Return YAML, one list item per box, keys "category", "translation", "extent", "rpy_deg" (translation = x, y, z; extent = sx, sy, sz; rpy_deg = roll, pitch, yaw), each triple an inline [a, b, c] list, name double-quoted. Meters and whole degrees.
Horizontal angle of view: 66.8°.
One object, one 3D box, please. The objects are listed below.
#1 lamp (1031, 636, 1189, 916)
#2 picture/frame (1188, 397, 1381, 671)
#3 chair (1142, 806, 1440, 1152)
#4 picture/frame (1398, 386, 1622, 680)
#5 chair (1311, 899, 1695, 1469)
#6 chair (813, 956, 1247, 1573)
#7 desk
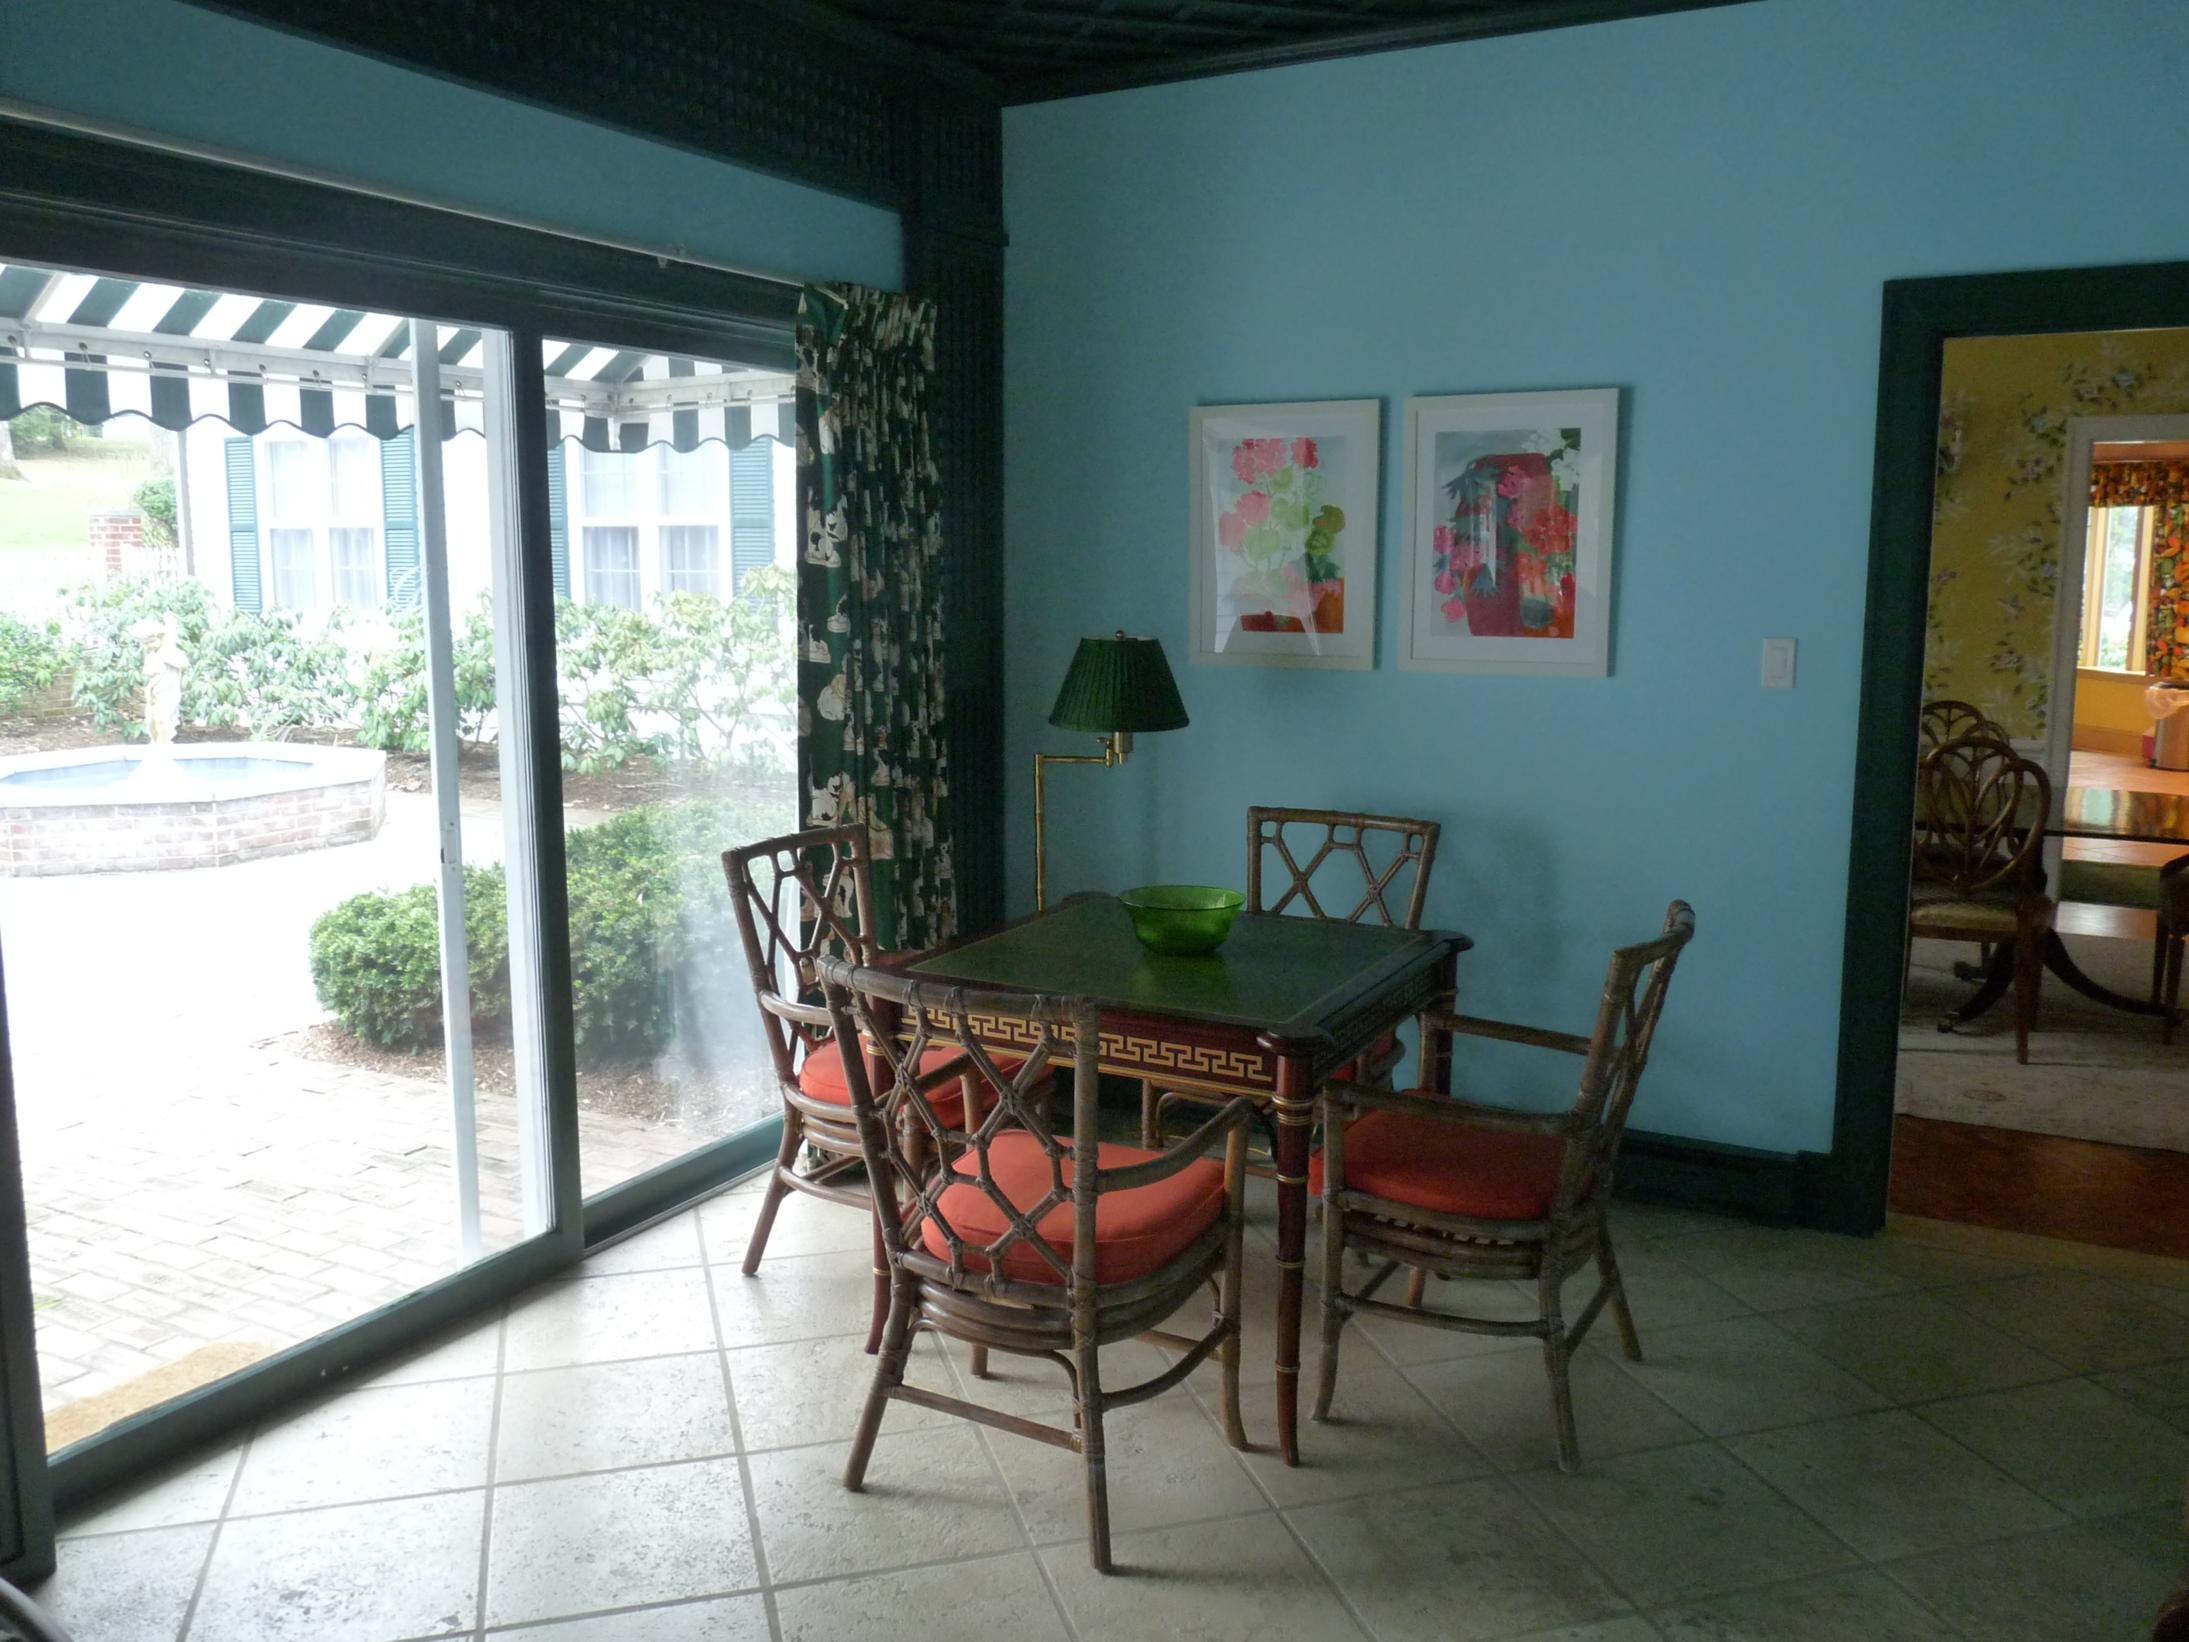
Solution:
- category: "lamp"
  translation: [0.055, -0.114, 4.791]
  extent: [0.471, 0.858, 0.976]
  rpy_deg: [-2, 8, -2]
- category: "picture/frame"
  translation: [0.577, -0.855, 4.800]
  extent: [0.751, 1.004, 0.037]
  rpy_deg: [3, 8, 29]
- category: "chair"
  translation: [0.542, 0.515, 4.587]
  extent: [0.672, 1.094, 0.637]
  rpy_deg: [-9, 6, -41]
- category: "picture/frame"
  translation: [1.167, -0.813, 4.546]
  extent: [0.778, 1.083, 0.042]
  rpy_deg: [3, 8, 30]
- category: "chair"
  translation: [0.897, 0.738, 3.677]
  extent: [0.791, 1.050, 0.856]
  rpy_deg: [1, 7, 13]
- category: "chair"
  translation: [-0.104, 0.817, 3.439]
  extent: [0.710, 1.110, 0.763]
  rpy_deg: [5, 9, 34]
- category: "desk"
  translation: [0.223, 0.565, 3.866]
  extent: [1.177, 0.918, 1.168]
  rpy_deg: [4, 11, 32]
